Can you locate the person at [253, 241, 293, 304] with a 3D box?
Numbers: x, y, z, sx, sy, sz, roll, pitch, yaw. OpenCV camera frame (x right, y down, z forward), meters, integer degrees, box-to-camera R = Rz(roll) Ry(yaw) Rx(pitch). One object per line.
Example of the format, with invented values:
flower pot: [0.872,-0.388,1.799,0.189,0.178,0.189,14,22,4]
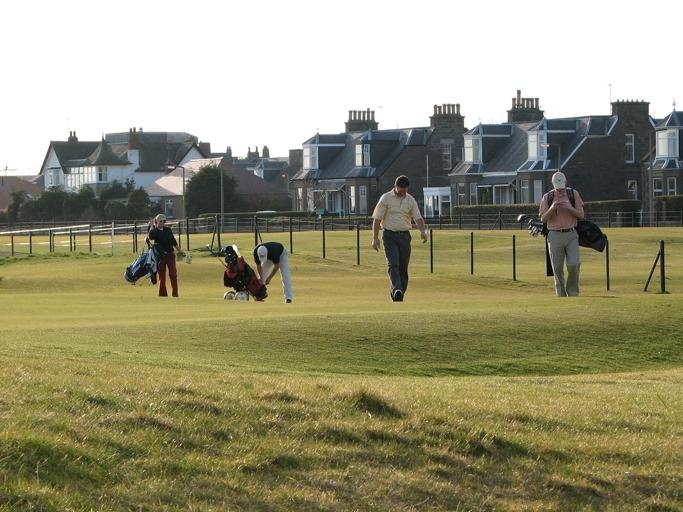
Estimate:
person: [-1.306,0.279,22.741,0.662,1.159,0.943,3,10,26]

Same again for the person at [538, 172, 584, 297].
person: [3.736,-0.336,20.870,0.701,2.113,0.737,-2,3,33]

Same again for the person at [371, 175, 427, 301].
person: [0.999,-0.322,20.510,0.871,1.998,0.864,2,6,21]
